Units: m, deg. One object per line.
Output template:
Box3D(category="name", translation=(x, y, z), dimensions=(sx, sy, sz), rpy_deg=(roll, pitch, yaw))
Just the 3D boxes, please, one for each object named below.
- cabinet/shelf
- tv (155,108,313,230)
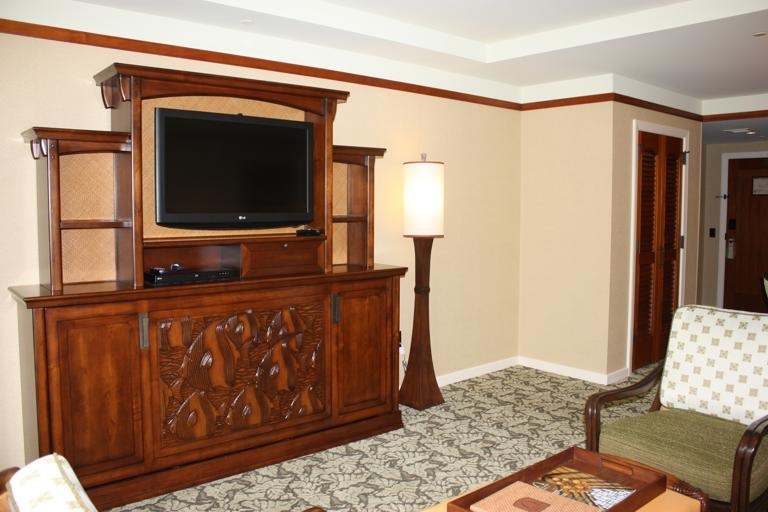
Box3D(category="cabinet/shelf", translation=(-1.282, 0.121, 4.203), dimensions=(2.578, 2.945, 0.760), rpy_deg=(-6, 12, -30))
Box3D(category="tv", translation=(-1.179, -0.662, 4.203), dimensions=(1.089, 0.696, 0.103), rpy_deg=(-3, 8, -33))
